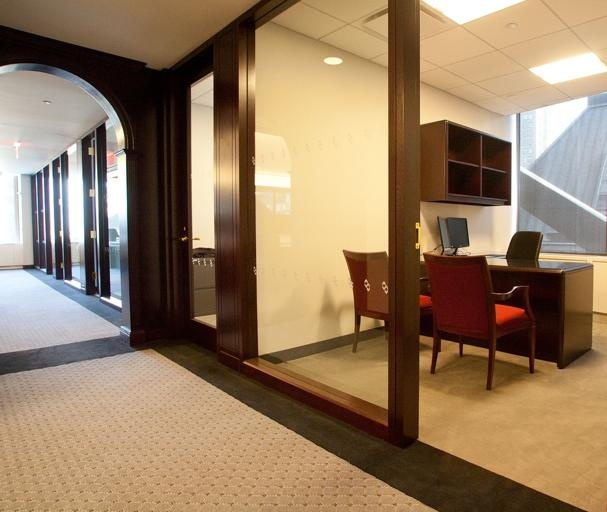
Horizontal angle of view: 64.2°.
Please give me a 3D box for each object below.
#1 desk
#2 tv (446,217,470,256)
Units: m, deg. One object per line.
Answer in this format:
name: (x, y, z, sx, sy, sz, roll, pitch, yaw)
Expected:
desk: (2.088, 0.426, 4.573, 0.733, 1.037, 1.300, -8, 8, -43)
tv: (1.806, -0.221, 5.712, 0.154, 0.411, 0.387, -10, 2, 38)
